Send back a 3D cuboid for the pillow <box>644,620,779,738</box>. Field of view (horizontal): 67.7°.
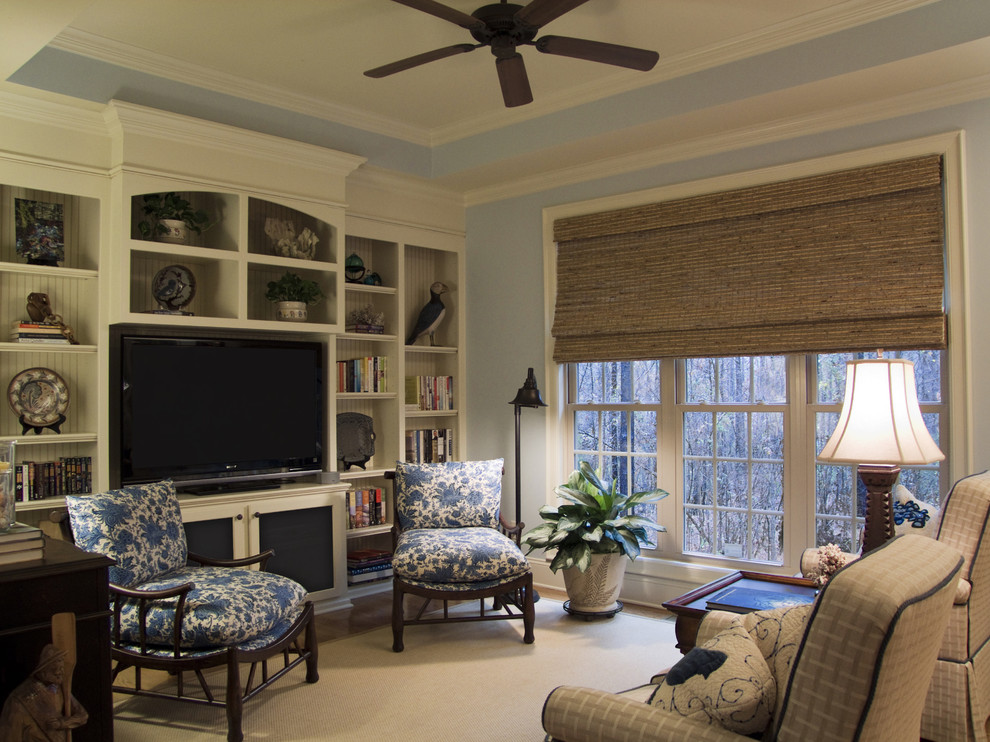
[{"bbox_3d":[0.618,0.894,2.146,0.285,0.092,0.260,-12,31,47],"label":"pillow"}]

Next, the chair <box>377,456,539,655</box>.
[{"bbox_3d":[-0.202,1.090,4.513,0.833,0.987,0.802,-1,3,-7],"label":"chair"}]

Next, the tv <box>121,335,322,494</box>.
[{"bbox_3d":[-1.694,0.261,4.475,1.116,0.729,0.107,0,2,-40],"label":"tv"}]

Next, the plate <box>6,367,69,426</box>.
[{"bbox_3d":[-2.538,0.152,4.133,0.293,0.353,0.124,-3,4,-37],"label":"plate"}]

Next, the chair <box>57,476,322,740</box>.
[{"bbox_3d":[-1.477,1.073,3.777,1.226,1.163,0.956,-1,-2,21],"label":"chair"}]

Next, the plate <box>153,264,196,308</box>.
[{"bbox_3d":[-1.941,-0.502,4.475,0.236,0.292,0.174,-3,4,-40],"label":"plate"}]

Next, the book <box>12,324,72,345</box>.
[{"bbox_3d":[-2.479,-0.207,4.074,0.277,0.112,0.192,-2,3,-32],"label":"book"}]

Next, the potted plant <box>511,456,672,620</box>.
[{"bbox_3d":[0.574,1.103,4.955,0.949,0.848,0.986,5,-9,-30],"label":"potted plant"}]
